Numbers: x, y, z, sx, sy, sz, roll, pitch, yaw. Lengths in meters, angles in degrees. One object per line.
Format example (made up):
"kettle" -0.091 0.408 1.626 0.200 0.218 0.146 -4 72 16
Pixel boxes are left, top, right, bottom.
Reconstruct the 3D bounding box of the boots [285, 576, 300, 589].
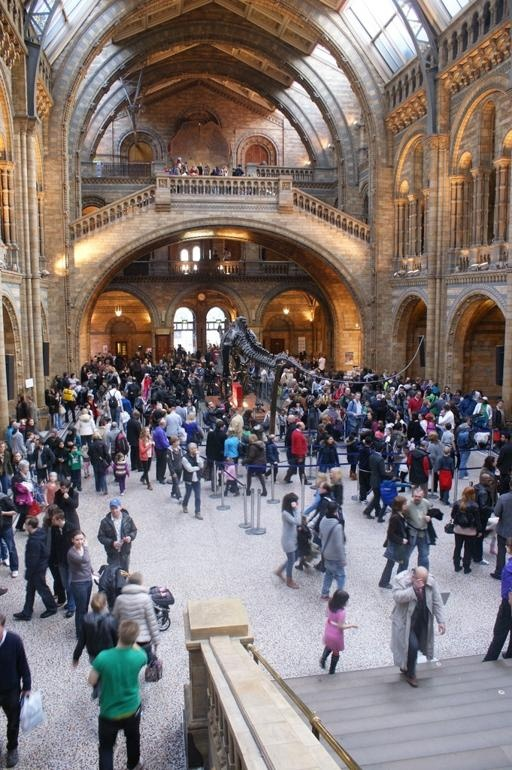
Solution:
"boots" 0.456 2.405 8.349 0.172 0.166 0.076 4 9 44

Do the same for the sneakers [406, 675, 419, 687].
"sneakers" 1.340 2.554 5.916 0.046 0.051 0.129 -1 2 -4

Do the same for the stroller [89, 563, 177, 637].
"stroller" -1.212 2.096 6.913 0.918 0.823 0.656 0 3 -11

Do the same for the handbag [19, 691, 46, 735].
"handbag" -1.611 2.361 4.959 0.160 0.288 0.150 1 2 -19

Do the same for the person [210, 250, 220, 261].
"person" -2.044 -6.405 34.469 0.378 0.636 0.774 1 2 -5

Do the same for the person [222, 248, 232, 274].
"person" -1.434 -6.142 34.684 0.571 1.397 1.534 1 2 -3

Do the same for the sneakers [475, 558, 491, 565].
"sneakers" 3.057 2.389 9.238 0.151 0.063 0.080 -3 14 -5

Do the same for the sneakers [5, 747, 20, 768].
"sneakers" -1.790 2.757 5.054 0.054 0.107 0.156 0 -11 -12
